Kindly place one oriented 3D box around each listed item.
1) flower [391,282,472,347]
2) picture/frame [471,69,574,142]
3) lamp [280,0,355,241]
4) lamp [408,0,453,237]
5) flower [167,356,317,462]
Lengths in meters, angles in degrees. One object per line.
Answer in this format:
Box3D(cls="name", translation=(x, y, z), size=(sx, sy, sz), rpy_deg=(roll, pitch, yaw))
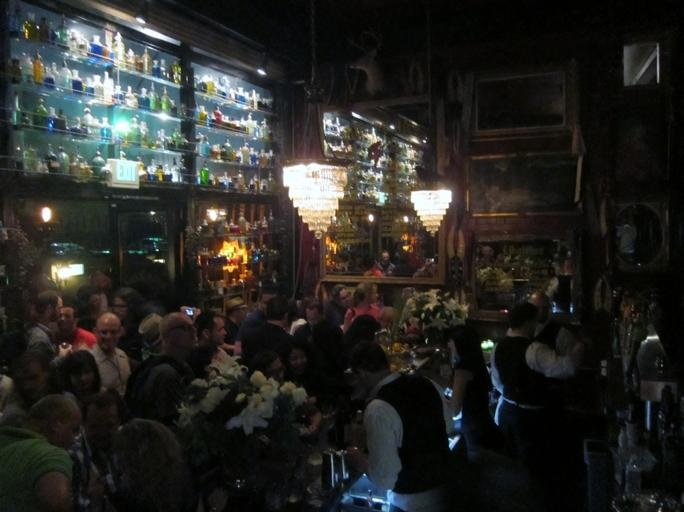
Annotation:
Box3D(cls="flower", translation=(0.965, 0.628, 6.118), size=(0.609, 0.646, 0.596), rpy_deg=(7, -8, -42))
Box3D(cls="picture/frame", translation=(2.666, -1.945, 8.539), size=(1.364, 0.995, 0.783), rpy_deg=(1, 10, 16))
Box3D(cls="lamp", translation=(-0.359, -1.894, 6.972), size=(0.712, 3.280, 2.730), rpy_deg=(0, 5, -4))
Box3D(cls="lamp", translation=(1.284, -1.971, 8.045), size=(0.523, 3.315, 1.558), rpy_deg=(1, 4, 11))
Box3D(cls="flower", translation=(-0.667, 0.971, 3.558), size=(0.644, 0.617, 0.301), rpy_deg=(23, -22, 4))
